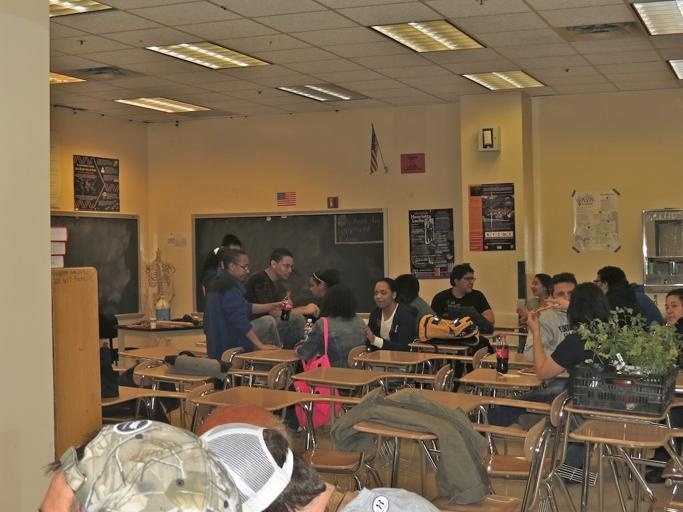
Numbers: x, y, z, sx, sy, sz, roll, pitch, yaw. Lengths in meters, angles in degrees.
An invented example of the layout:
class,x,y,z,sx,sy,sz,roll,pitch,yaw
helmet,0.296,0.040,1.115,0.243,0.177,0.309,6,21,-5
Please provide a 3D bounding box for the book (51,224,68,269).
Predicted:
class,x,y,z,sx,sy,sz,roll,pitch,yaw
book,-1.538,-0.048,3.422,0.072,0.221,0.317,-2,2,-23

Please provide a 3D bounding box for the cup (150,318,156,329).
class,x,y,z,sx,sy,sz,roll,pitch,yaw
cup,-2.238,0.812,7.506,0.096,0.100,0.092,1,1,0

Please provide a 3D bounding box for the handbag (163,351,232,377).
class,x,y,z,sx,sy,sz,roll,pitch,yaw
handbag,-1.090,0.892,5.120,0.281,0.088,0.281,5,-1,26

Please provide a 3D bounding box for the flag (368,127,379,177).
class,x,y,z,sx,sy,sz,roll,pitch,yaw
flag,0.455,-1.446,8.390,0.139,0.677,0.179,-2,2,-2
